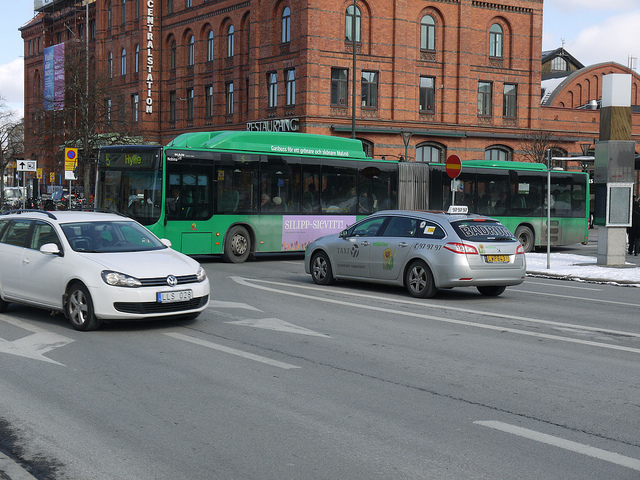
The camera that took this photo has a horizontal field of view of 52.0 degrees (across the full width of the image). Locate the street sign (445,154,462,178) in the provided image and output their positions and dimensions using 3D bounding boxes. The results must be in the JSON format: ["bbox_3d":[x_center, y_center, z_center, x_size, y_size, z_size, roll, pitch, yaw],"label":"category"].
[{"bbox_3d":[4.119,-2.306,20.284,0.387,0.732,1.504,2,4,13],"label":"street sign"}]

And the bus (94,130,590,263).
[{"bbox_3d":[1.945,-1.467,24.781,16.714,4.173,3.820,1,1,-10],"label":"bus"}]

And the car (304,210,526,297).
[{"bbox_3d":[1.957,0.241,14.369,4.248,1.710,1.285,4,5,34],"label":"car"}]

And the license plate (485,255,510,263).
[{"bbox_3d":[3.641,0.385,13.539,0.665,0.171,0.034,-1,4,-29],"label":"license plate"}]

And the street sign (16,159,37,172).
[{"bbox_3d":[-18.672,-4.799,41.878,1.008,0.675,2.965,-1,4,-26],"label":"street sign"}]

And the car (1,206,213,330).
[{"bbox_3d":[-3.814,0.342,10.667,3.611,1.281,1.650,4,3,44],"label":"car"}]
